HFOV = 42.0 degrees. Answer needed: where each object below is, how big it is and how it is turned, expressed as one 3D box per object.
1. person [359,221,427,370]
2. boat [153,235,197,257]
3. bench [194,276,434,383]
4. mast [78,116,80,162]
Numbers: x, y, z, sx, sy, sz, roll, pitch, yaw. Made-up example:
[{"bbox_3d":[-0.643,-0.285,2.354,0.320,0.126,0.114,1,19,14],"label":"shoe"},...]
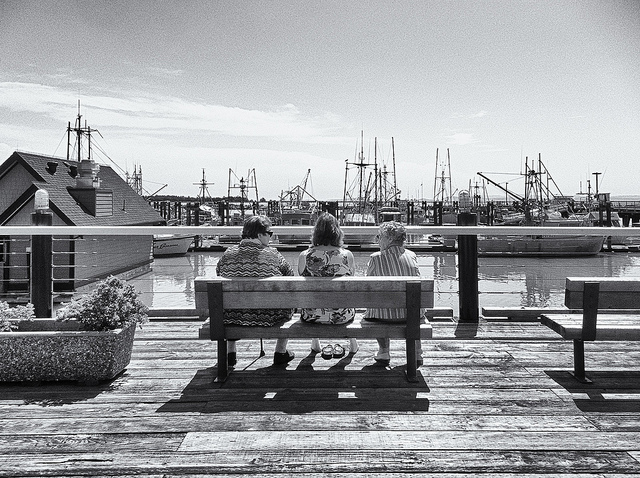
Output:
[{"bbox_3d":[0.903,0.677,10.846,1.047,1.732,0.970,5,5,-1],"label":"person"},{"bbox_3d":[-8.825,0.399,49.179,3.471,1.047,1.249,-3,9,-13],"label":"boat"},{"bbox_3d":[-0.077,1.113,10.439,2.909,1.322,0.396,0,4,2],"label":"bench"},{"bbox_3d":[-19.719,-8.334,68.083,0.147,3.321,1.657,-2,4,-18],"label":"mast"}]
